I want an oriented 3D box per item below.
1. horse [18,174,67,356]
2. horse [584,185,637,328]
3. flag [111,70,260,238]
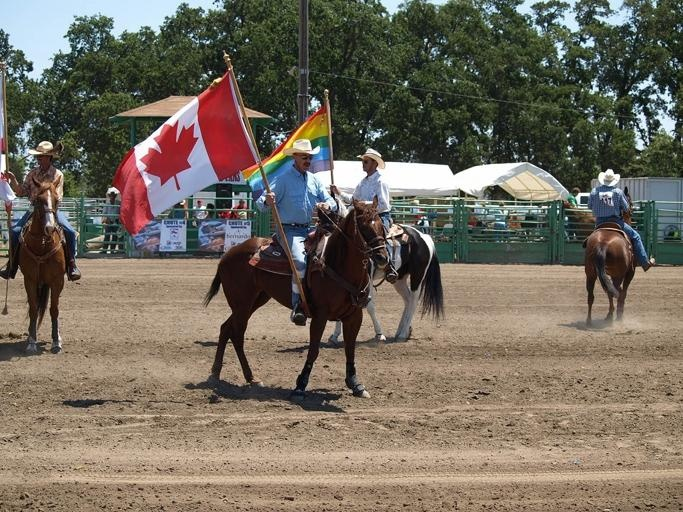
[{"bbox_3d":[-8.262,0.296,37.145,1.211,4.778,1.458,0,0,-3],"label":"horse"},{"bbox_3d":[8.459,0.104,41.994,1.158,3.909,5.352,4,7,19],"label":"horse"},{"bbox_3d":[-4.129,-2.739,35.585,3.387,4.360,0.425,0,0,-6],"label":"flag"}]
